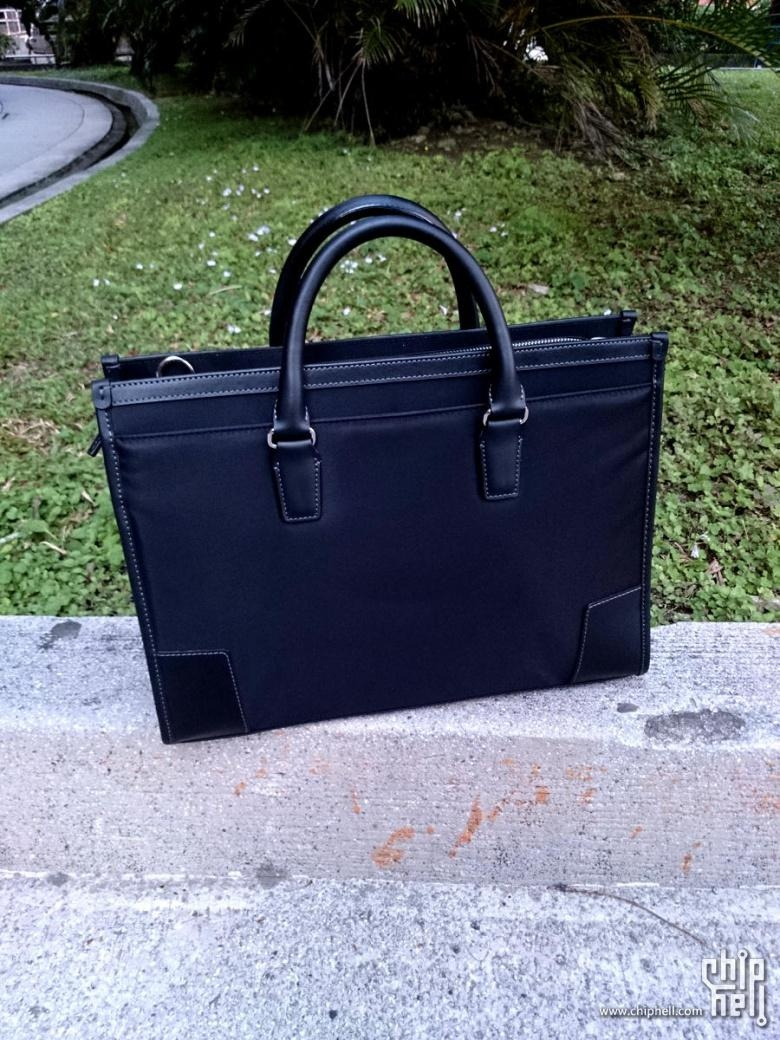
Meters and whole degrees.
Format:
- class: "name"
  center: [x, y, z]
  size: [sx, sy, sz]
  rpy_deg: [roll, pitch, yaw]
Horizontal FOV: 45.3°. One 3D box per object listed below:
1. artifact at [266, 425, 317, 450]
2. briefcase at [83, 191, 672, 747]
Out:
- class: "artifact"
  center: [-0.158, -0.130, 1.472]
  size: [0.077, 0.045, 0.032]
  rpy_deg: [-6, 29, -3]
- class: "briefcase"
  center: [0.005, -0.085, 1.683]
  size: [1.029, 0.808, 0.361]
  rpy_deg: [-6, 20, -15]
